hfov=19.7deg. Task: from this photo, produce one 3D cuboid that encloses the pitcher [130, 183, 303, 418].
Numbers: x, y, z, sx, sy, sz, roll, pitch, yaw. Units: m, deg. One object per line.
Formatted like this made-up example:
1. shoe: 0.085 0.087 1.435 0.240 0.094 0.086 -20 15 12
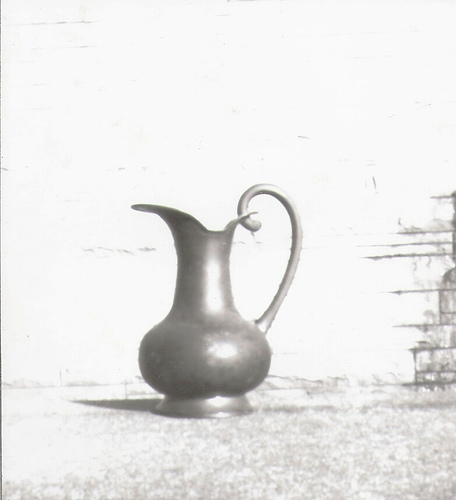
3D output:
1. pitcher: -0.049 0.062 2.008 0.222 0.326 0.320 0 11 -8
